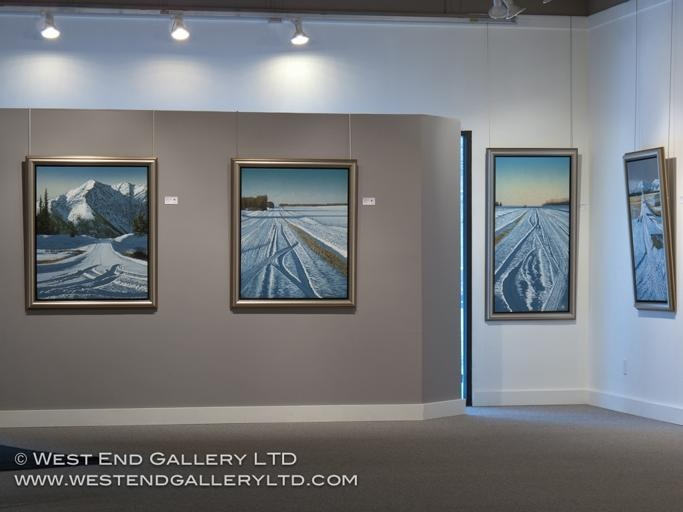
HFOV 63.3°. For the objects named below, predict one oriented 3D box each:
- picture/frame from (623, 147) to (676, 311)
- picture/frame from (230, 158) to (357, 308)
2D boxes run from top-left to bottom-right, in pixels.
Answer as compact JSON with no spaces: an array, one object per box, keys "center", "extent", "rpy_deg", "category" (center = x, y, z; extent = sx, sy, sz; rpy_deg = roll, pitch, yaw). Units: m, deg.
[{"center":[4.156,-0.348,7.501],"extent":[0.168,2.139,0.690],"rpy_deg":[-1,2,-21],"category":"picture/frame"},{"center":[-0.706,-0.275,7.262],"extent":[1.798,2.271,0.145],"rpy_deg":[0,0,0],"category":"picture/frame"}]
